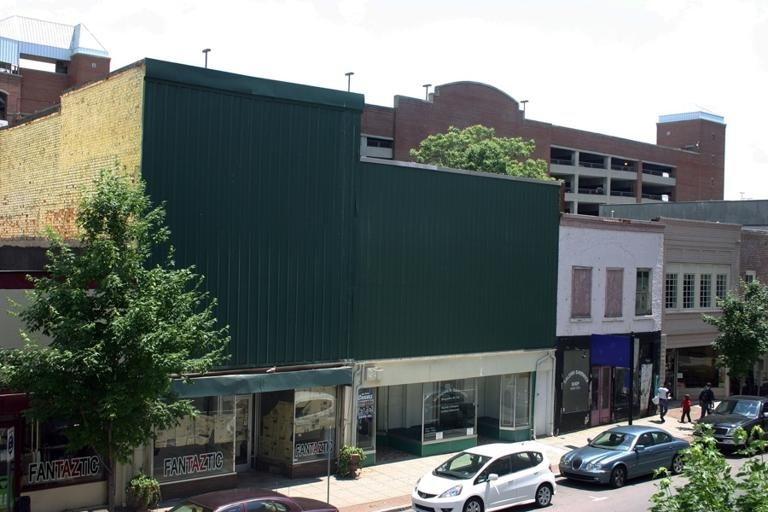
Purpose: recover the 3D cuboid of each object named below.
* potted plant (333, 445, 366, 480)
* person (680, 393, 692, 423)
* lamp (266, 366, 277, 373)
[{"bbox_3d":[-1.342,8.652,44.161,1.384,1.418,1.149,1,-2,-10],"label":"potted plant"},{"bbox_3d":[15.404,7.791,53.760,0.561,1.357,1.725,-3,-7,16],"label":"person"},{"bbox_3d":[-4.514,4.553,42.241,0.300,0.158,0.184,-6,38,-26],"label":"lamp"}]
